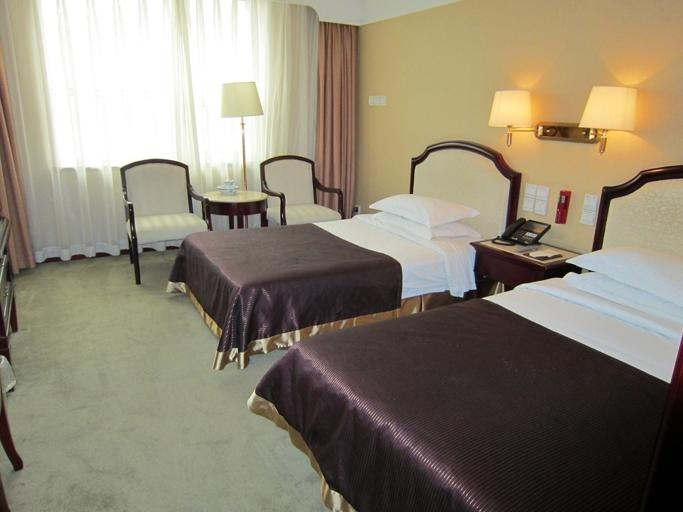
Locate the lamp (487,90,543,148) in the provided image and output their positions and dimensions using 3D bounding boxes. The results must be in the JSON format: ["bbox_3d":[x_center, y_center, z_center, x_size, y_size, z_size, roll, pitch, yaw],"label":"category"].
[{"bbox_3d":[1.520,-1.206,4.346,0.300,0.500,0.327,-18,25,-38],"label":"lamp"}]

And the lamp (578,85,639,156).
[{"bbox_3d":[1.957,-1.013,3.593,0.361,0.449,0.366,6,20,-2],"label":"lamp"}]
